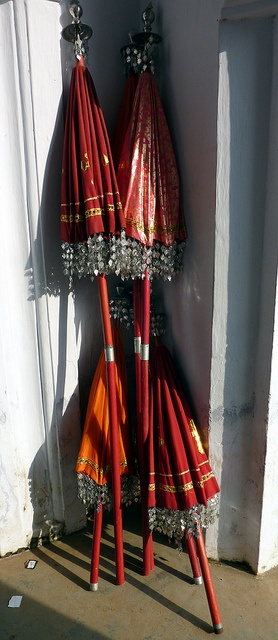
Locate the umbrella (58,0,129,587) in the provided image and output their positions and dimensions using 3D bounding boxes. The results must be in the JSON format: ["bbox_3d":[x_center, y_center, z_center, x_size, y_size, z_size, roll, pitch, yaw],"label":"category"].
[{"bbox_3d":[-0.142,-0.052,1.598,0.217,1.893,0.222,0,9,5],"label":"umbrella"}]
